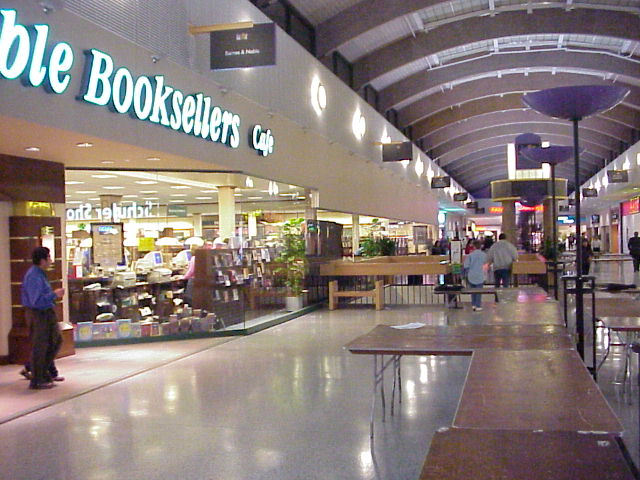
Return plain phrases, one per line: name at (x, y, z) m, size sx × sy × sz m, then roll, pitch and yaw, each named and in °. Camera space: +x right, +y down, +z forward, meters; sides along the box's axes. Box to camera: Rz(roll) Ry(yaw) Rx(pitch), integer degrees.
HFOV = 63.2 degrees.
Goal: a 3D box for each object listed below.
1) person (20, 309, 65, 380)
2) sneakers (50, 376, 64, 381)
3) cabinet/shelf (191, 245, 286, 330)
person at (-3.417, 1.314, 6.471) m, size 0.408 × 1.009 × 0.425 m, roll -2°, pitch 1°, yaw -31°
sneakers at (-3.302, 1.738, 6.539) m, size 0.091 × 0.045 × 0.124 m, roll -1°, pitch -5°, yaw 2°
cabinet/shelf at (-1.487, 0.873, 10.323) m, size 0.790 × 1.383 × 2.130 m, roll -1°, pitch 1°, yaw 30°
